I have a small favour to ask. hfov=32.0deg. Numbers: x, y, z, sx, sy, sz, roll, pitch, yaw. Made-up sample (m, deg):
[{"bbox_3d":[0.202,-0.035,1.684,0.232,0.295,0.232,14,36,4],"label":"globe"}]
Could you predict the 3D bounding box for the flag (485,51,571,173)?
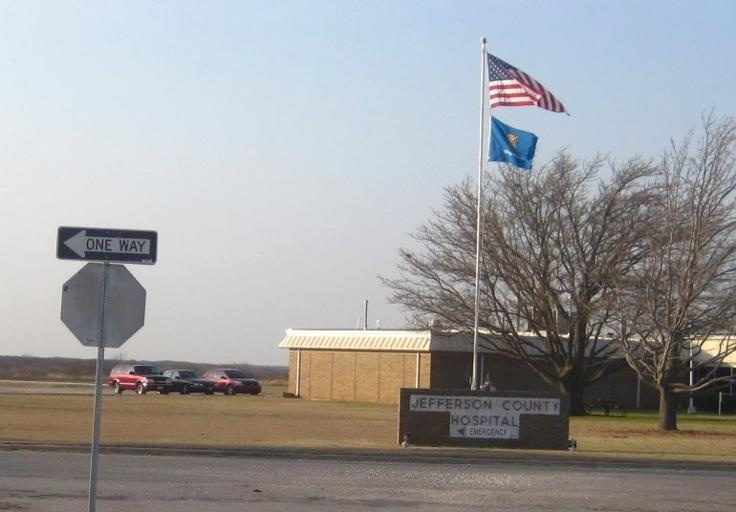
[{"bbox_3d":[5.729,-5.691,49.226,2.275,4.748,1.779,1,-7,1],"label":"flag"}]
